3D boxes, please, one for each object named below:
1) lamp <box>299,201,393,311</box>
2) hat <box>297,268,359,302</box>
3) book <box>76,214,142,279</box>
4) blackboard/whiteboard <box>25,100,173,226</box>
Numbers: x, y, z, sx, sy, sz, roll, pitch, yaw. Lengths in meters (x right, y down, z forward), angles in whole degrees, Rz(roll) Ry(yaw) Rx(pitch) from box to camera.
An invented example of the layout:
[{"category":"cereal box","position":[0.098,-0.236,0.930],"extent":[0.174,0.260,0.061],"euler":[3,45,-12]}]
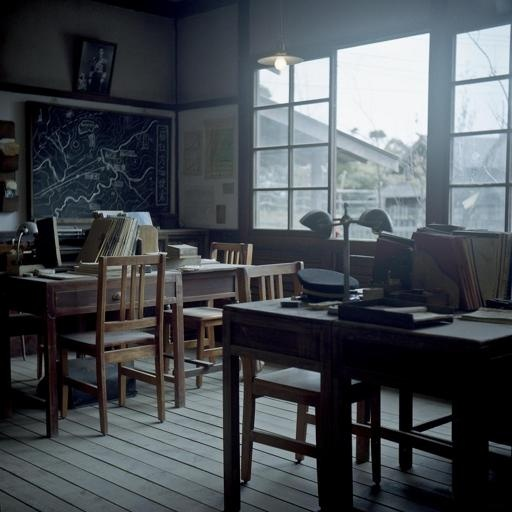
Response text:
[{"category":"lamp","position":[0.458,-0.003,2.647],"extent":[0.605,0.726,0.322],"euler":[2,5,33]},{"category":"hat","position":[0.259,0.106,1.856],"extent":[0.148,0.061,0.146],"euler":[15,13,3]},{"category":"book","position":[-0.904,-0.079,3.028],"extent":[0.276,0.425,0.115],"euler":[-4,-21,46]},{"category":"blackboard/whiteboard","position":[-1.655,-0.951,4.968],"extent":[1.347,1.113,0.058],"euler":[-1,0,-42]}]
